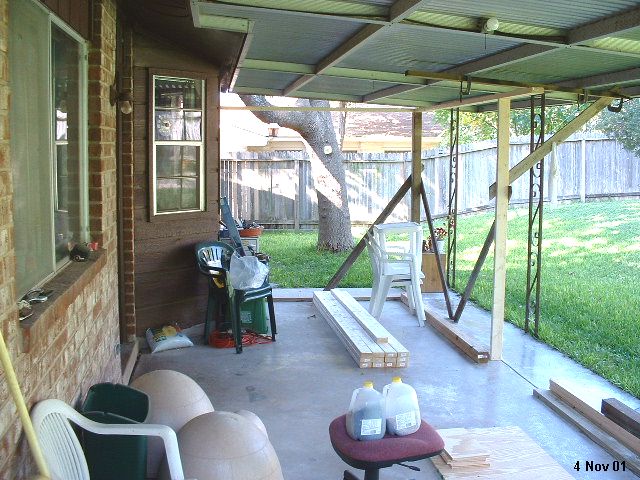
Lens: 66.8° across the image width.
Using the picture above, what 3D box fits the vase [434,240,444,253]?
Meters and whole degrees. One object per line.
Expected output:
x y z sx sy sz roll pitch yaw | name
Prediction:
2.005 0.114 8.025 0.088 0.235 0.398 3 9 19 | vase

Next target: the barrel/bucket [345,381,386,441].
0.262 1.004 2.800 0.220 0.325 0.177 2 -10 -13 | barrel/bucket

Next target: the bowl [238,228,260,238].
-1.061 -0.113 7.393 0.338 0.140 0.218 -2 9 -10 | bowl

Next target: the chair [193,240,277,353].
-1.046 0.633 5.823 0.875 1.160 0.709 7 11 41 | chair

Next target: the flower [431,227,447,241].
2.099 -0.108 8.391 0.373 0.159 0.370 0 3 10 | flower
